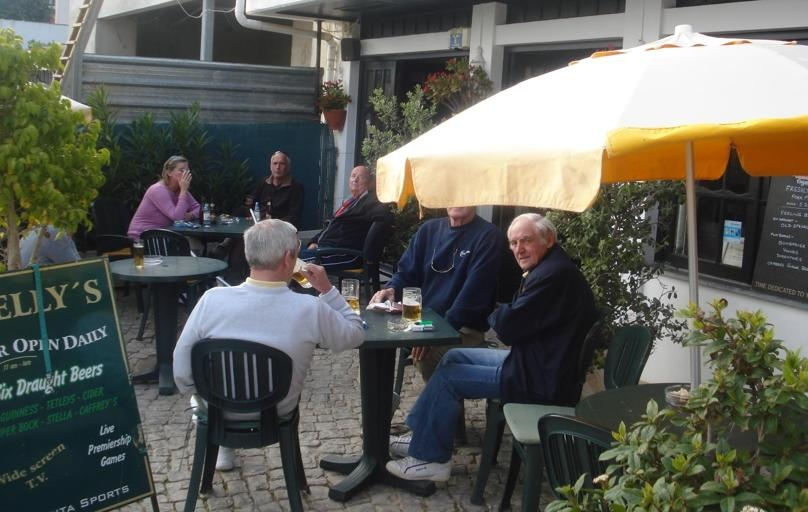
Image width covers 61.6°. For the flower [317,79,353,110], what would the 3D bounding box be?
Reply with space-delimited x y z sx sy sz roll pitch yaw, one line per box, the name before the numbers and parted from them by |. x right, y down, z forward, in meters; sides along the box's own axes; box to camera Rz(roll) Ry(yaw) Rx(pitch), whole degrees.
flower | -1.098 -2.580 11.144 0.505 0.548 0.488 -2 10 3

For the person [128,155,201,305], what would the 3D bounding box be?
person | -3.015 -0.523 8.737 0.761 1.456 0.712 9 11 26

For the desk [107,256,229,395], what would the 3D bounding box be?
desk | -2.201 0.630 6.696 1.146 1.215 1.170 12 16 33

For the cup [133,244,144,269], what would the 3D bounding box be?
cup | -2.493 -0.002 6.414 0.075 0.233 0.118 0 7 -18

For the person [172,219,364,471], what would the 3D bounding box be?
person | -0.863 0.424 4.420 1.206 1.300 0.346 0 7 -15

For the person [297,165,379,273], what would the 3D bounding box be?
person | -0.924 -0.505 8.764 1.197 1.487 1.035 9 -10 -16

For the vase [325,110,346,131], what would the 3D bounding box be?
vase | -1.094 -2.197 11.071 0.289 0.234 0.298 -3 12 -11
